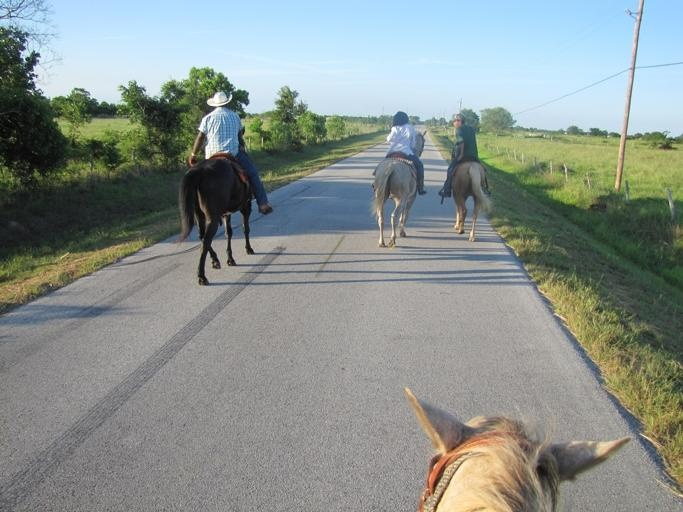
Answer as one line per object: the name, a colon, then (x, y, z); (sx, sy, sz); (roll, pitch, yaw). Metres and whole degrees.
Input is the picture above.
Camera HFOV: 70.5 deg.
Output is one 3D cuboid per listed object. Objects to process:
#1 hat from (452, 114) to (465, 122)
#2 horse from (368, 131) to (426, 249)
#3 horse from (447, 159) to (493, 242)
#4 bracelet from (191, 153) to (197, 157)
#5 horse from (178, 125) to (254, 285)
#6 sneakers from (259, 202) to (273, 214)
hat: (2.824, -3.343, 11.689); (0.224, 0.197, 0.564); (3, 21, 11)
horse: (1.159, -1.214, 10.903); (0.833, 1.915, 1.892); (5, 20, 15)
horse: (3.038, -1.331, 11.489); (0.866, 1.772, 1.911); (3, 20, 10)
bracelet: (-2.838, -1.945, 9.313); (0.078, 0.094, 0.088); (0, 5, 20)
horse: (-2.283, -0.714, 8.792); (0.715, 2.050, 1.967); (3, 20, 9)
sneakers: (-1.583, -0.983, 10.205); (0.206, 0.291, 0.597); (-6, -4, 1)
